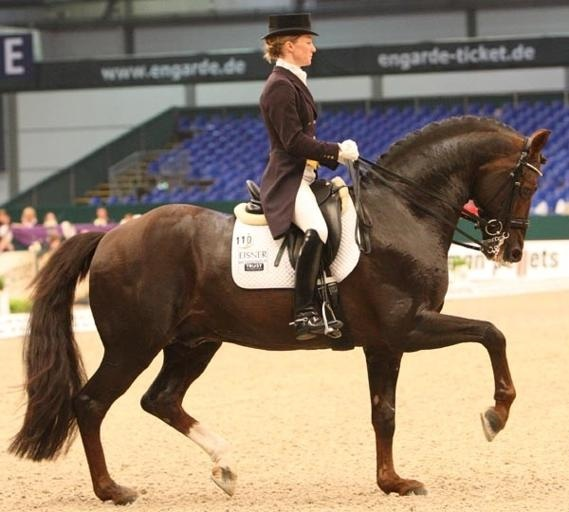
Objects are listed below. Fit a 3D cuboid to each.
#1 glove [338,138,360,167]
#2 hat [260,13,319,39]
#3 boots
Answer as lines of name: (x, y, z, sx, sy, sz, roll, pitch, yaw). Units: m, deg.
glove: (0.508, -0.829, 9.030, 0.179, 0.186, 0.094, 5, -8, -5)
hat: (0.019, -1.823, 9.053, 0.336, 0.100, 0.240, -5, 5, 2)
boots: (0.245, 0.229, 8.816, 0.380, 0.868, 0.335, -10, 16, -28)
